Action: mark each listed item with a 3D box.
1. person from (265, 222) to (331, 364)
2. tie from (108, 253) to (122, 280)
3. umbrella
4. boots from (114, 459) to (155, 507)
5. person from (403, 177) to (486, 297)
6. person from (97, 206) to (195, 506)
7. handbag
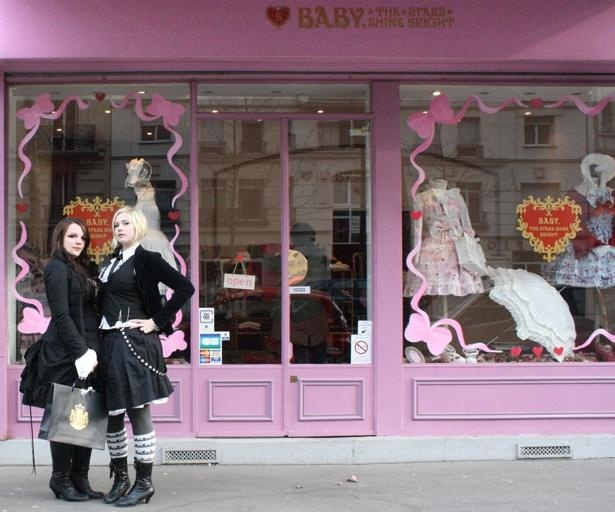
[{"bbox_3d":[0.031,0.379,11.065,0.429,1.372,0.479,1,14,-1],"label":"person"},{"bbox_3d":[-1.748,0.097,9.626,0.095,0.243,0.039,6,-35,23],"label":"tie"},{"bbox_3d":[2.386,0.605,11.222,0.937,0.892,0.309,3,14,7],"label":"umbrella"},{"bbox_3d":[-1.557,2.025,9.506,0.353,0.403,0.240,-2,14,-13],"label":"boots"},{"bbox_3d":[1.505,-0.185,11.174,0.714,1.182,0.372,1,14,-2],"label":"person"},{"bbox_3d":[-1.497,0.892,9.573,0.779,2.556,0.890,-2,14,-10],"label":"person"},{"bbox_3d":[-2.073,1.374,9.404,0.679,0.661,0.250,7,-6,-13],"label":"handbag"}]
